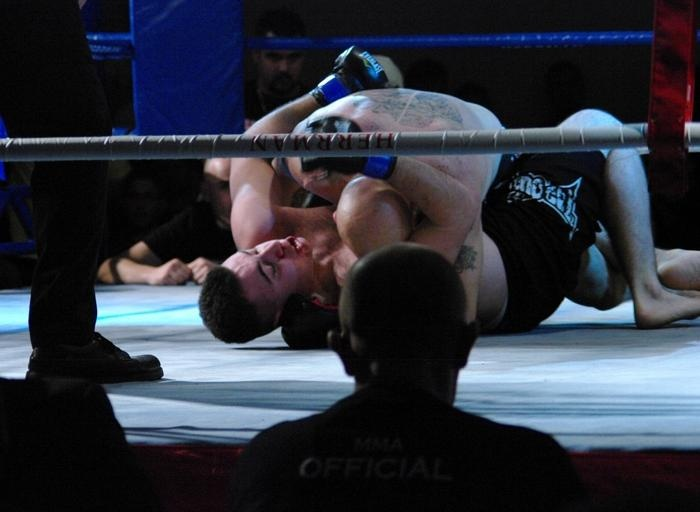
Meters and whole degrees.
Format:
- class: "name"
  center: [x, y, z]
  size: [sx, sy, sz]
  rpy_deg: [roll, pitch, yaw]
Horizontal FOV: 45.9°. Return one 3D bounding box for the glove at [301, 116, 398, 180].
- class: "glove"
  center: [-0.014, -0.273, 2.163]
  size: [0.120, 0.175, 0.328]
  rpy_deg: [-11, 23, -27]
